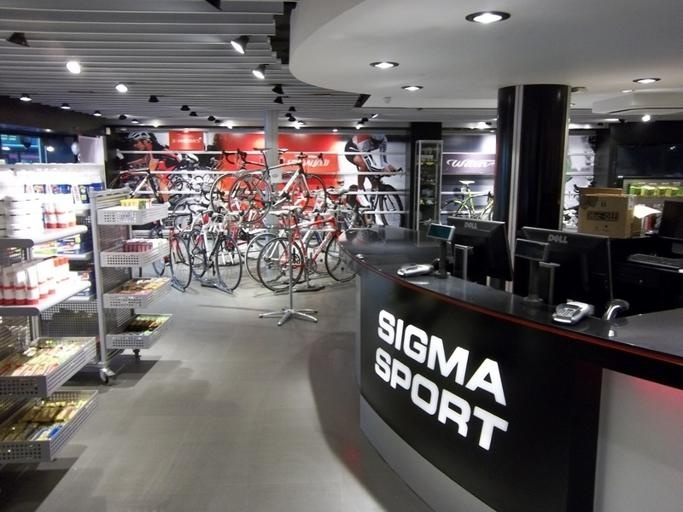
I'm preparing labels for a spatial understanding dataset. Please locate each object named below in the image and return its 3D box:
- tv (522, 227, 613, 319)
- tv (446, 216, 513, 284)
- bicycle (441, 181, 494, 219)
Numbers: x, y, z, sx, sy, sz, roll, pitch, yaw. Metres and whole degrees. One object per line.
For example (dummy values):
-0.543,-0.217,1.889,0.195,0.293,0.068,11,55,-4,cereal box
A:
1.329,0.112,2.715,0.232,0.543,0.619,-15,18,-32,tv
1.026,-0.033,3.481,0.269,0.461,0.723,-11,15,-32,tv
3.343,-1.496,12.212,1.246,1.000,0.593,2,15,8,bicycle
